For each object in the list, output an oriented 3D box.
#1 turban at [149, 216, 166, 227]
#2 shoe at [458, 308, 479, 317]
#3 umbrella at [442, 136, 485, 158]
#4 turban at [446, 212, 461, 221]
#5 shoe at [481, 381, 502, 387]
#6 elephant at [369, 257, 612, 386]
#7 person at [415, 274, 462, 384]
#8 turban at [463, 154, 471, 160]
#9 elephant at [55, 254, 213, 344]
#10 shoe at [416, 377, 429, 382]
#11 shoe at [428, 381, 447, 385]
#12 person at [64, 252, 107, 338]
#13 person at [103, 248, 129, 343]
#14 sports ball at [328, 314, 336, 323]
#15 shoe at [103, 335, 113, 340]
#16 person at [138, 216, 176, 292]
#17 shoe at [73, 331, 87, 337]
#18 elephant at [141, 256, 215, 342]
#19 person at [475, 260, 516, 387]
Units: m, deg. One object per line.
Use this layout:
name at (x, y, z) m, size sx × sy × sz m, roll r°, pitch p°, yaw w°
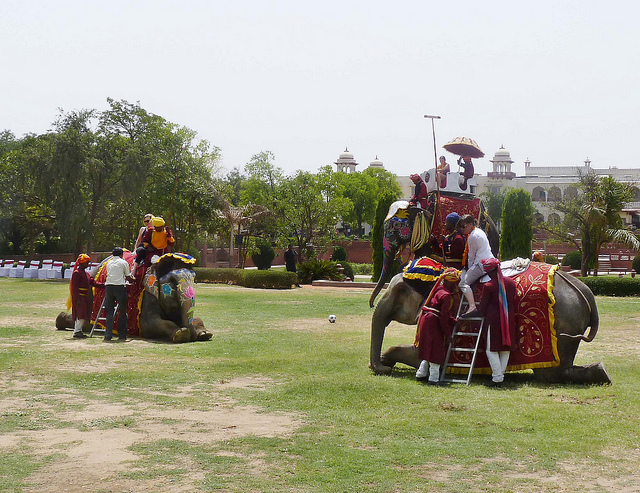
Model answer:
turban at (-3.051, -0.472, 13.964) m, size 0.254 × 0.195 × 0.315 m, roll 3°, pitch -4°, yaw -16°
shoe at (1.977, 0.878, 9.980) m, size 0.088 × 0.120 × 0.313 m, roll 5°, pitch -4°, yaw -42°
umbrella at (3.710, -2.573, 19.390) m, size 0.961 × 0.443 × 1.198 m, roll 1°, pitch -3°, yaw 11°
turban at (1.954, -0.413, 10.974) m, size 0.170 × 0.170 × 0.133 m, roll -22°, pitch 26°, yaw -16°
shoe at (2.276, 1.815, 9.866) m, size 0.210 × 0.099 × 0.081 m, roll 5°, pitch -16°, yaw 8°
elephant at (2.221, 1.139, 10.883) m, size 3.681 × 2.097 × 1.486 m, roll 3°, pitch -15°, yaw 13°
person at (1.618, 1.097, 10.111) m, size 0.578 × 1.471 × 0.269 m, roll 1°, pitch -3°, yaw 1°
turban at (3.797, -2.327, 19.320) m, size 0.214 × 0.213 × 0.052 m, roll 6°, pitch -10°, yaw 44°
elephant at (-3.479, 0.969, 14.026) m, size 2.831 × 1.721 × 1.127 m, roll 0°, pitch -13°, yaw 21°
shoe at (1.397, 1.819, 10.229) m, size 0.138 × 0.064 × 0.052 m, roll -3°, pitch 2°, yaw 10°
shoe at (1.558, 1.817, 9.967) m, size 0.234 × 0.047 × 0.102 m, roll 3°, pitch -4°, yaw -18°
person at (-4.406, 0.905, 14.076) m, size 0.636 × 1.562 × 1.091 m, roll 3°, pitch -3°, yaw -19°
person at (-3.720, 0.845, 13.633) m, size 0.394 × 1.628 × 0.483 m, roll 2°, pitch -3°, yaw -17°
sports ball at (0.274, 1.618, 16.631) m, size 0.114 × 0.130 × 0.125 m, roll 18°, pitch -47°, yaw 0°
shoe at (-3.806, 1.633, 13.443) m, size 0.131 × 0.072 × 0.252 m, roll 3°, pitch -4°, yaw -16°
person at (-3.010, 0.174, 14.022) m, size 0.808 × 1.563 × 0.677 m, roll 10°, pitch 11°, yaw 43°
shoe at (-4.397, 1.610, 13.720) m, size 0.241 × 0.156 × 0.082 m, roll 2°, pitch 0°, yaw -1°
elephant at (-2.987, 0.985, 14.207) m, size 1.058 × 1.649 × 2.696 m, roll 11°, pitch -10°, yaw -41°
person at (2.343, 1.030, 9.986) m, size 0.519 × 1.642 × 0.402 m, roll 1°, pitch -3°, yaw 16°
